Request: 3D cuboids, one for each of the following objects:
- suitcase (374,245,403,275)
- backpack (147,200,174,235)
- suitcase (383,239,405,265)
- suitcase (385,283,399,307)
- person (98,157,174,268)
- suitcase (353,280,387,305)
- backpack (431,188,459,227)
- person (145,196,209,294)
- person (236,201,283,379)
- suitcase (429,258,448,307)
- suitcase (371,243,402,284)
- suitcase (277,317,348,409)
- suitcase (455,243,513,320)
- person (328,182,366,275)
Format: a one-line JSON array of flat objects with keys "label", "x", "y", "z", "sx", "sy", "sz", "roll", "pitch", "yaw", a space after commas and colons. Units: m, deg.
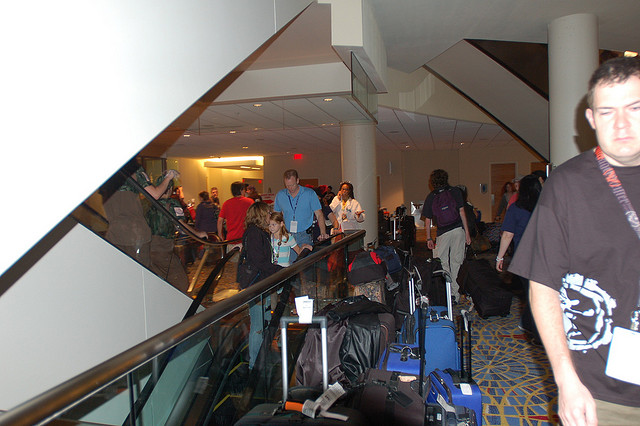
[{"label": "suitcase", "x": 0.836, "y": 0.555, "z": 5.337, "sx": 0.250, "sy": 0.350, "sz": 0.331, "roll": -30, "pitch": 0, "yaw": -7}, {"label": "backpack", "x": -1.769, "y": 0.060, "z": 4.800, "sx": 0.261, "sy": 0.375, "sz": 0.203, "roll": -16, "pitch": -11, "yaw": -21}, {"label": "suitcase", "x": 1.023, "y": 0.540, "z": 6.017, "sx": 0.358, "sy": 0.340, "sz": 0.611, "roll": -9, "pitch": -4, "yaw": 14}, {"label": "suitcase", "x": 0.863, "y": 0.995, "z": 5.358, "sx": 0.178, "sy": 0.260, "sz": 0.093, "roll": 1, "pitch": -10, "yaw": 32}, {"label": "person", "x": -1.828, "y": 0.044, "z": 4.495, "sx": 0.519, "sy": 1.639, "sz": 0.656, "roll": 0, "pitch": 4, "yaw": 38}, {"label": "suitcase", "x": 0.549, "y": 0.863, "z": 4.772, "sx": 0.346, "sy": 0.508, "sz": 0.258, "roll": -2, "pitch": -8, "yaw": 6}, {"label": "backpack", "x": 1.872, "y": -0.050, "z": 6.359, "sx": 0.404, "sy": 0.651, "sz": 0.355, "roll": -14, "pitch": -23, "yaw": 26}, {"label": "person", "x": -1.687, "y": 0.398, "z": 5.125, "sx": 0.392, "sy": 0.362, "sz": 1.229, "roll": -9, "pitch": -21, "yaw": -18}, {"label": "person", "x": -0.562, "y": 0.565, "z": 4.269, "sx": 0.504, "sy": 1.424, "sz": 1.863, "roll": -2, "pitch": -1, "yaw": -11}, {"label": "suitcase", "x": 1.406, "y": 0.888, "z": 5.222, "sx": 0.205, "sy": 0.507, "sz": 1.221, "roll": -2, "pitch": -1, "yaw": 14}, {"label": "suitcase", "x": 0.885, "y": 0.536, "z": 5.325, "sx": 0.313, "sy": 0.330, "sz": 0.244, "roll": -7, "pitch": 0, "yaw": 44}, {"label": "suitcase", "x": -0.113, "y": 0.824, "z": 2.421, "sx": 0.411, "sy": 0.533, "sz": 0.495, "roll": -3, "pitch": 1, "yaw": -10}, {"label": "suitcase", "x": 2.196, "y": 0.936, "z": 5.925, "sx": 0.488, "sy": 0.315, "sz": 0.863, "roll": -16, "pitch": 33, "yaw": 9}, {"label": "person", "x": 0.517, "y": 0.332, "z": 8.230, "sx": 0.771, "sy": 1.811, "sz": 0.561, "roll": 10, "pitch": 26, "yaw": 28}]
